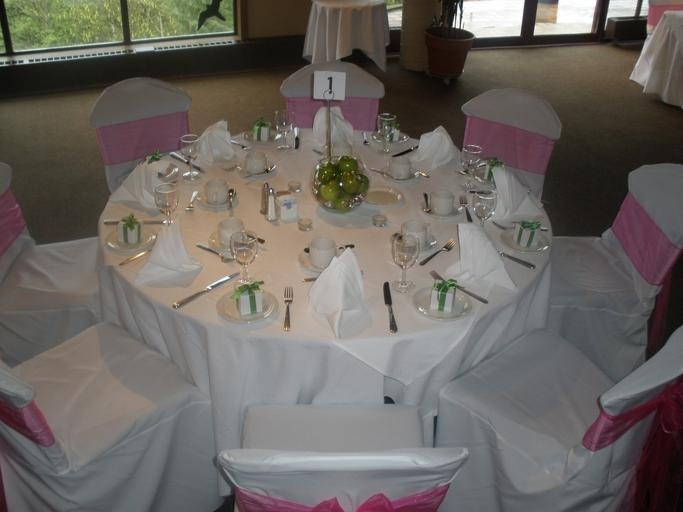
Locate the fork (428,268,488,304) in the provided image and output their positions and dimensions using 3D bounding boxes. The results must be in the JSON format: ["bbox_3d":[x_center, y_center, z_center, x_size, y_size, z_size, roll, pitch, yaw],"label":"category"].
[{"bbox_3d":[0.498,0.128,2.180,0.012,0.038,0.230,-8,39,-46],"label":"fork"}]

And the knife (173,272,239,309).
[{"bbox_3d":[-0.555,0.147,2.144,0.237,0.015,0.035,-31,59,-33],"label":"knife"}]

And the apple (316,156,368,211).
[{"bbox_3d":[-0.008,-0.313,2.491,0.210,0.170,0.260,5,41,1],"label":"apple"}]

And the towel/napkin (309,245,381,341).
[{"bbox_3d":[0.007,0.149,1.962,0.210,0.360,0.118,-8,7,-4],"label":"towel/napkin"}]

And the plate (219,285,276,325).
[{"bbox_3d":[-0.374,0.200,2.076,0.248,0.041,0.166,3,33,1],"label":"plate"}]
